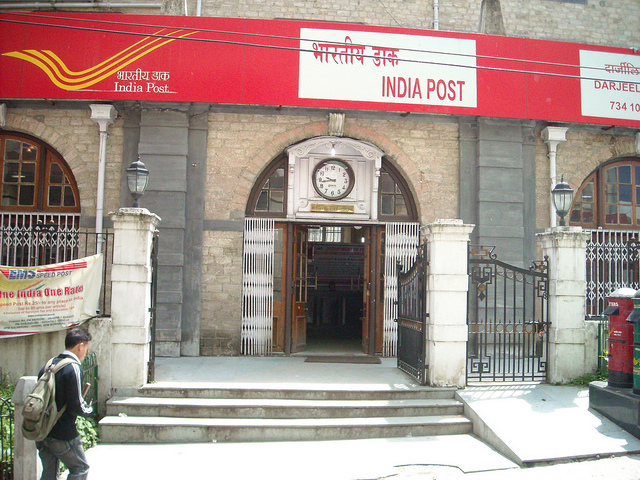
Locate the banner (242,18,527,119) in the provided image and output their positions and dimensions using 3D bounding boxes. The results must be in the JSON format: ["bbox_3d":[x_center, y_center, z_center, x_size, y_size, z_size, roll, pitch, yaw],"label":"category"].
[{"bbox_3d":[1.418,-3.689,20.588,6.082,2.061,0.269,0,-1,-6],"label":"banner"}]

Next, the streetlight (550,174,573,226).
[{"bbox_3d":[4.809,-0.743,18.770,0.391,0.972,0.783,0,-1,15],"label":"streetlight"}]

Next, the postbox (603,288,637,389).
[{"bbox_3d":[5.556,1.831,17.471,0.581,1.623,0.695,0,1,-2],"label":"postbox"}]

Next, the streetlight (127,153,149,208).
[{"bbox_3d":[-3.463,-1.104,18.038,0.457,1.060,0.453,0,-9,10],"label":"streetlight"}]
